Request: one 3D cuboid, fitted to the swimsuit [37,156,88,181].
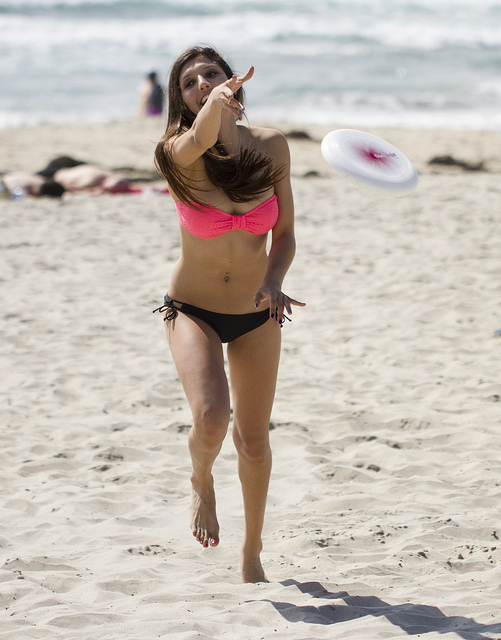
[{"bbox_3d":[-2.546,-1.988,12.075,0.530,0.247,0.864,4,15,14],"label":"swimsuit"}]

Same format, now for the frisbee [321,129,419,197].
[{"bbox_3d":[0.679,-0.893,4.807,0.507,0.118,0.456,15,-15,29],"label":"frisbee"}]

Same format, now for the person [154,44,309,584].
[{"bbox_3d":[-0.089,0.014,4.180,0.613,2.440,0.847,-2,20,-4],"label":"person"}]

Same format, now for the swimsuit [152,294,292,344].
[{"bbox_3d":[-0.109,-0.023,4.018,0.615,0.137,0.551,-4,-13,20],"label":"swimsuit"}]
